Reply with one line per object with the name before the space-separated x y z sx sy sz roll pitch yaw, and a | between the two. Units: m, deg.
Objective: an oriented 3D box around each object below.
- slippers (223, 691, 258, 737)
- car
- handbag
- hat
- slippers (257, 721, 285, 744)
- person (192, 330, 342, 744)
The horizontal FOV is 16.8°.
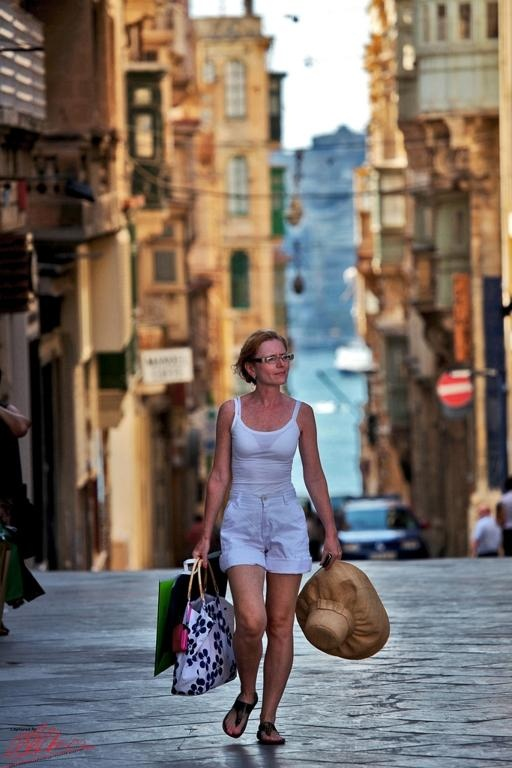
slippers | -0.064 1.302 6.773 0.071 0.075 0.244 15 45 7
car | 1.709 1.976 23.582 0.731 0.819 1.968 -2 -6 0
handbag | -0.230 0.980 6.867 0.194 0.718 0.678 0 -1 11
hat | 0.366 0.956 6.929 0.308 0.403 0.143 -17 24 41
slippers | 0.056 1.358 6.726 0.105 0.088 0.126 -2 4 0
person | 0.042 0.608 6.810 0.576 1.625 0.417 -3 4 -30
